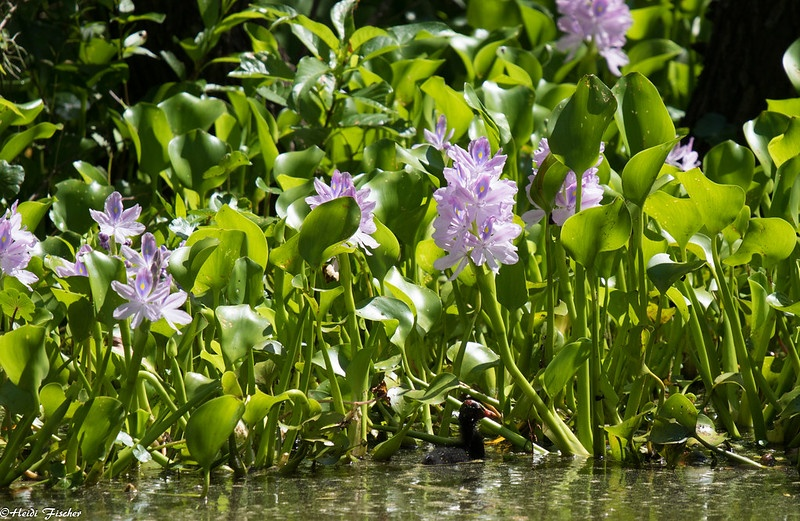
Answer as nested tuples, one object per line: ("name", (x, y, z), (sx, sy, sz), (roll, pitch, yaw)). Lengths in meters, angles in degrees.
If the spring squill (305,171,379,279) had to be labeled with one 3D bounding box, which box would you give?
("spring squill", (-0.185, -0.142, 3.534), (0.241, 0.310, 0.133), (-36, 36, -28))
